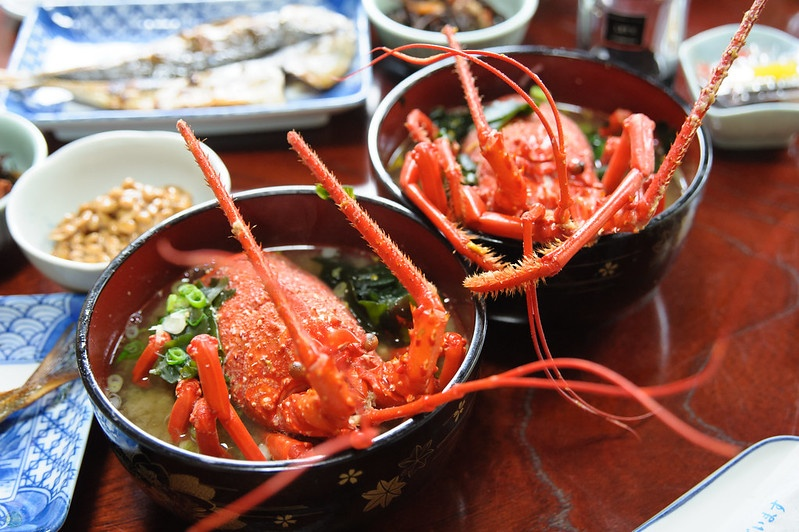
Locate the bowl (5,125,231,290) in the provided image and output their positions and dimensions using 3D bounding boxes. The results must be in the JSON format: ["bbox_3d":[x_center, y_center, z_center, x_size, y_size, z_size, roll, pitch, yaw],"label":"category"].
[{"bbox_3d":[-0.855,-0.132,1.941,0.499,0.198,0.501,3,53,-4],"label":"bowl"}]

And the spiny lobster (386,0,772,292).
[{"bbox_3d":[0.397,-0.299,1.755,0.563,0.439,1.081,11,46,19],"label":"spiny lobster"}]

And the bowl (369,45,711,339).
[{"bbox_3d":[0.400,-0.247,1.916,0.810,0.382,0.844,1,46,-1],"label":"bowl"}]

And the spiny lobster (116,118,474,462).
[{"bbox_3d":[-0.267,0.142,1.516,0.572,0.405,0.853,-16,41,-24],"label":"spiny lobster"}]
